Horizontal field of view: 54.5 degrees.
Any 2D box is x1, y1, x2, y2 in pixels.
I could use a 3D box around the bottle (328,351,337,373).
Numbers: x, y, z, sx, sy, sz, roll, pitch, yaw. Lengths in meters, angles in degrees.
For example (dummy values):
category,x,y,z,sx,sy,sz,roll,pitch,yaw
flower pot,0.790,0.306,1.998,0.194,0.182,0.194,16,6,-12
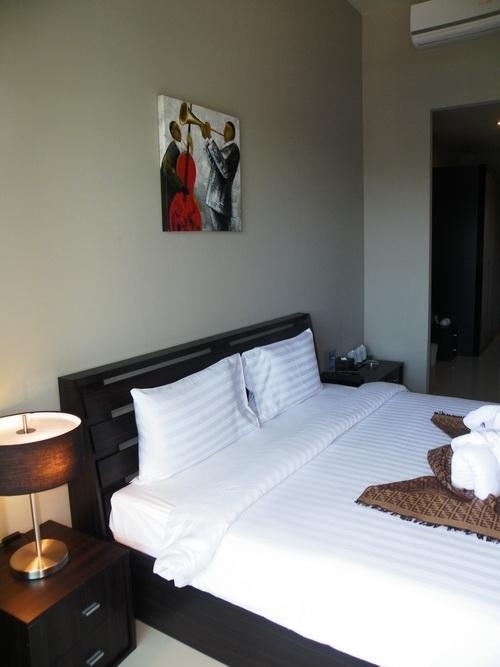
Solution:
category,x,y,z,sx,sy,sz,roll,pitch,yaw
bottle,0.631,0.219,3.735,0.025,0.124,0.120,2,-11,19
